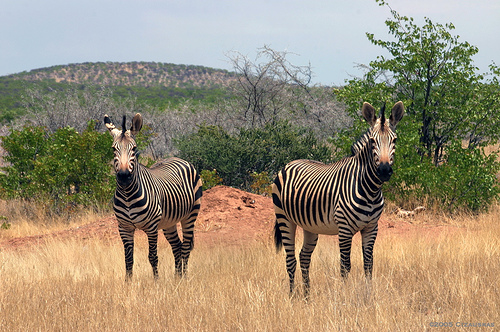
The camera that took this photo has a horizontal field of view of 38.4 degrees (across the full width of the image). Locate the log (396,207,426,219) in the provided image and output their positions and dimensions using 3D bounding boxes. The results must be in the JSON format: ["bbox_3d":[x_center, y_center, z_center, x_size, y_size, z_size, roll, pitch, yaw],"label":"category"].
[{"bbox_3d":[5.785,1.740,26.604,0.550,0.305,0.561,-14,11,-39],"label":"log"}]

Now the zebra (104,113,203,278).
[{"bbox_3d":[-2.941,0.989,22.028,2.815,4.750,0.913,4,-3,-42],"label":"zebra"}]
